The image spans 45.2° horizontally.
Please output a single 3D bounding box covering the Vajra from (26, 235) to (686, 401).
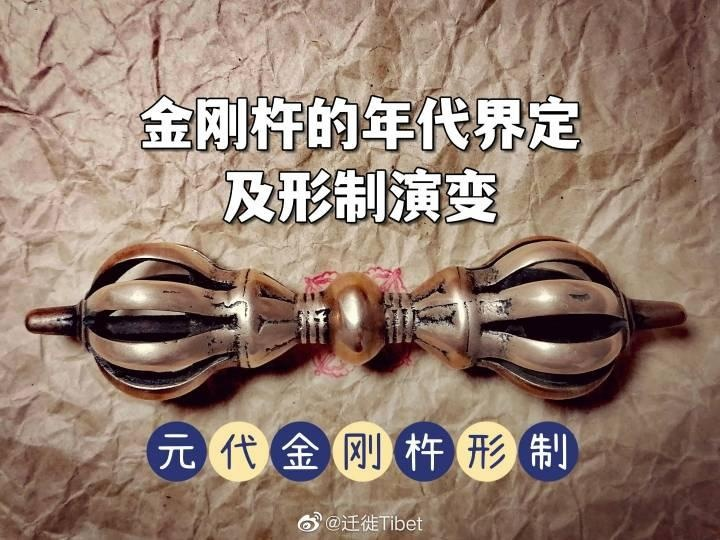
[{"bbox_3d":[-0.022,0.125,2.259,1.598,0.414,0.494,-2,94,5],"label":"Vajra"}]
